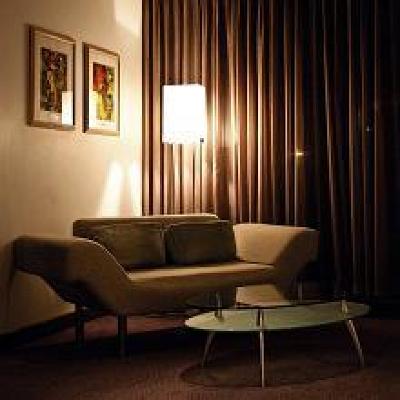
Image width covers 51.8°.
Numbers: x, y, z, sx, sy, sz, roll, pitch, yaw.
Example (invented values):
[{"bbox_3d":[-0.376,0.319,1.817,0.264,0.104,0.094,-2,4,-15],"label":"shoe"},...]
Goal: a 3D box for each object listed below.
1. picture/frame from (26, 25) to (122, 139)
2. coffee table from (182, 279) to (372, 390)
[{"bbox_3d":[-0.893,-0.852,3.041,0.069,0.770,0.965,0,-1,22],"label":"picture/frame"},{"bbox_3d":[0.412,0.673,2.134,1.022,0.408,0.584,0,-1,-27],"label":"coffee table"}]
